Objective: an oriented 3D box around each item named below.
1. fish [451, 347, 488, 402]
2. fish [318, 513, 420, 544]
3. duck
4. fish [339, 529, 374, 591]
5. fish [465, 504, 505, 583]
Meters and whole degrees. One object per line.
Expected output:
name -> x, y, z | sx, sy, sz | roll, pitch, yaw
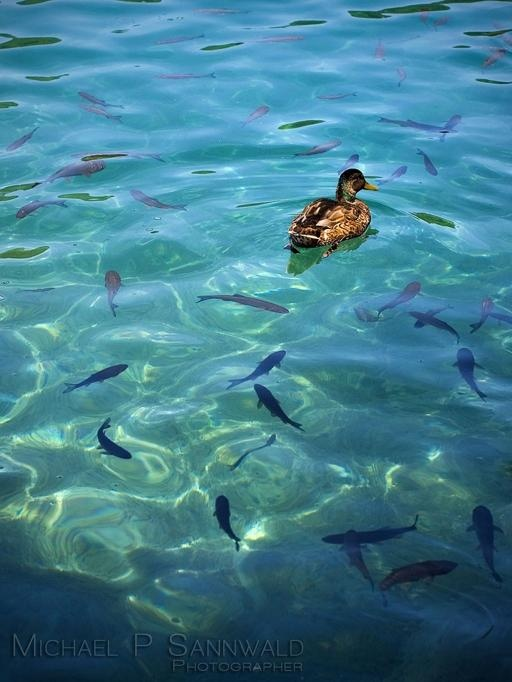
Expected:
fish -> 1.522, 0.218, 5.452 | 0.173, 0.152, 0.335 | 20, 42, -23
fish -> 0.742, 1.116, 4.469 | 0.793, 0.154, 0.119 | -2, 92, -3
duck -> 0.719, -1.290, 7.299 | 0.660, 0.667, 1.186 | 21, 37, 31
fish -> 0.578, 1.249, 4.271 | 0.091, 0.068, 0.354 | -13, 35, -2
fish -> 1.322, 1.128, 4.298 | 0.177, 0.101, 0.347 | -9, 41, 15
